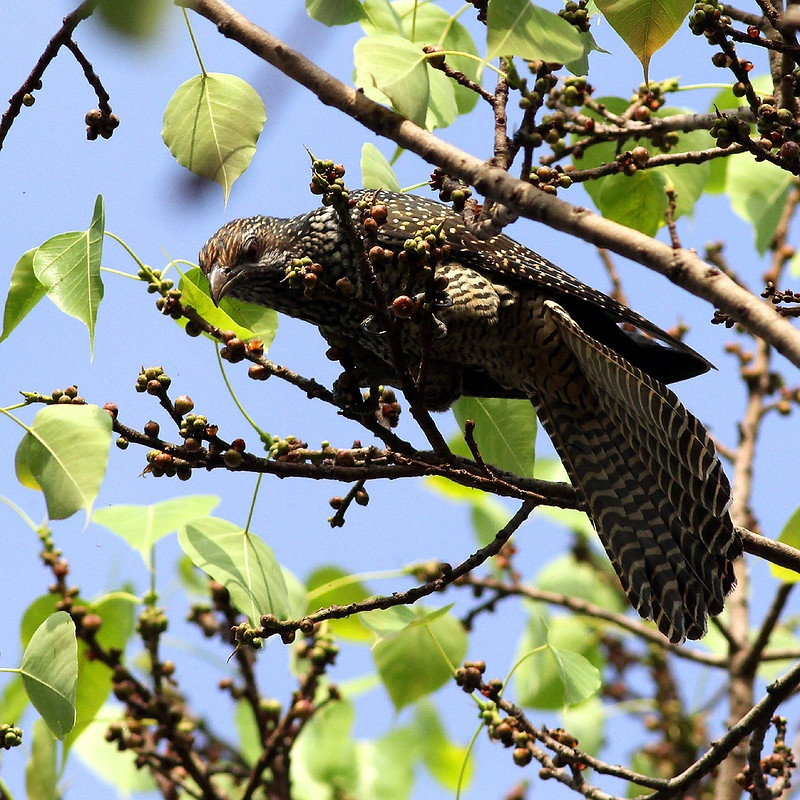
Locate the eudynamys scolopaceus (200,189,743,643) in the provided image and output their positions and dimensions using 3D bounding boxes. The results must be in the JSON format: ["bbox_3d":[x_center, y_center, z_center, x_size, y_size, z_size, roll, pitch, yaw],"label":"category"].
[{"bbox_3d":[0.280,-0.110,6.171,2.161,1.032,0.746,22,-54,-2],"label":"eudynamys scolopaceus"}]
